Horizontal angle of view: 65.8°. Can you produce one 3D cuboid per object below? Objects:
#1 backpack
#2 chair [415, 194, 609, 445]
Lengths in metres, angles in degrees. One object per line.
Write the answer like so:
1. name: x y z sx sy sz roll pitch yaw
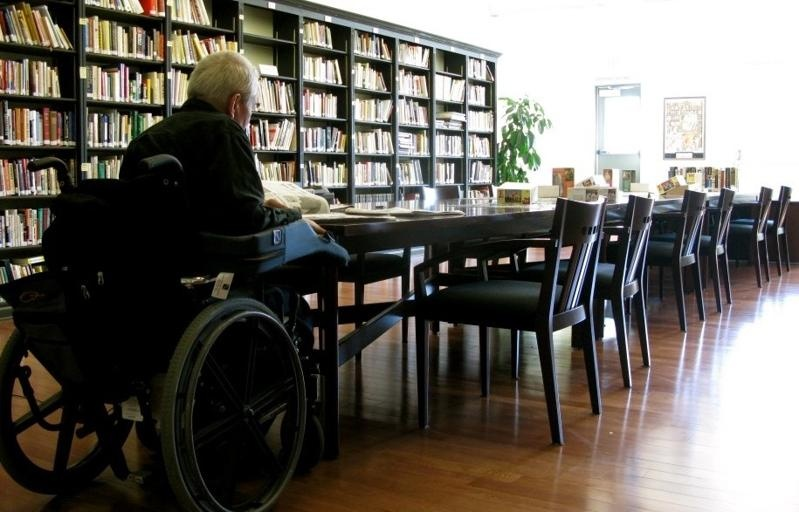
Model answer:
1. backpack: -1.036 0.105 2.129 0.595 0.745 0.255 -3 13 -12
2. chair: 0.603 0.246 3.564 1.147 1.559 1.039 4 4 28
